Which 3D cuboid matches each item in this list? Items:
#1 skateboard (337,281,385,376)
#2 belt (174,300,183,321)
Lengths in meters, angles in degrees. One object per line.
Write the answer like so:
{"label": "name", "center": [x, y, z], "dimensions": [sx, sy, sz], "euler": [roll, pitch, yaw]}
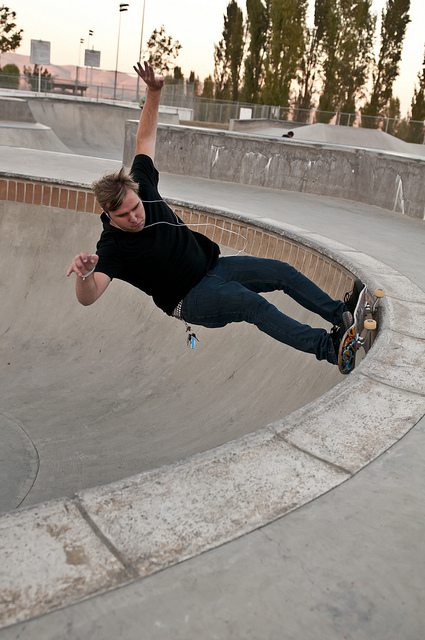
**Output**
{"label": "skateboard", "center": [0.969, 0.008, 2.885], "dimensions": [0.146, 0.367, 0.985], "euler": [-2, 35, 25]}
{"label": "belt", "center": [-0.223, -0.061, 2.736], "dimensions": [0.060, 0.077, 0.068], "euler": [2, -23, -18]}
